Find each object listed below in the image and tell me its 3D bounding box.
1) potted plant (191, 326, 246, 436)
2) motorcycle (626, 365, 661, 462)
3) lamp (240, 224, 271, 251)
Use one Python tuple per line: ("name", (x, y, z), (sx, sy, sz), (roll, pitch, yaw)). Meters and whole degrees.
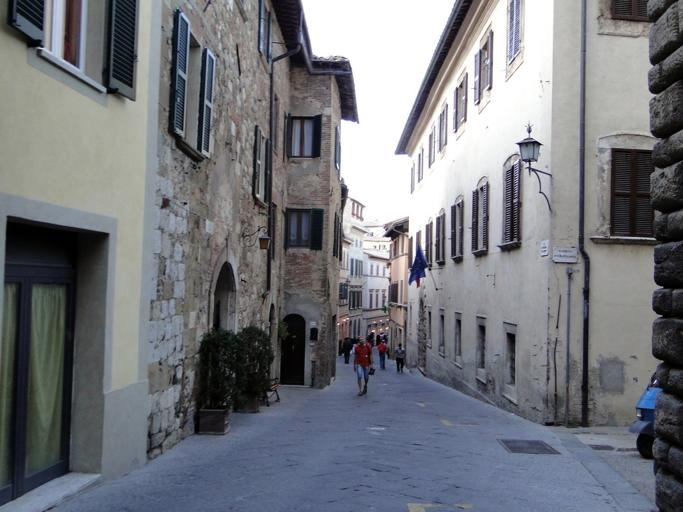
("potted plant", (-1.949, 1.985, 11.121), (0.757, 1.609, 0.548), (3, -8, -27))
("motorcycle", (4.323, 2.331, 9.999), (0.403, 1.140, 0.977), (-3, -8, 24))
("lamp", (-1.887, -0.380, 15.107), (0.560, 0.466, 0.266), (-2, -3, 25))
